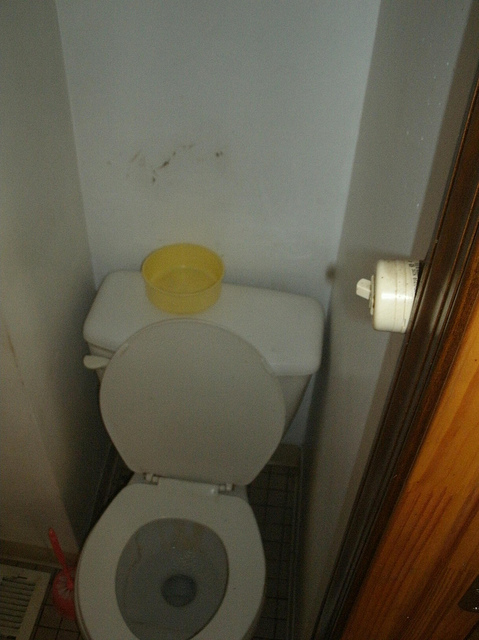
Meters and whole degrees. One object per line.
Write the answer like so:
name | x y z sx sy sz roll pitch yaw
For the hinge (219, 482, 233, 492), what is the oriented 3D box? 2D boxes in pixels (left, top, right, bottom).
hinge | -0.027 0.357 1.327 0.023 0.016 0.008 0 -1 6

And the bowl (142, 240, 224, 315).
bowl | -0.113 -0.077 1.246 0.161 0.115 0.129 2 31 -2

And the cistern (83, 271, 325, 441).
cistern | -0.076 0.187 1.469 0.604 0.411 0.328 6 44 2

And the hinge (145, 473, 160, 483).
hinge | -0.183 0.332 1.316 0.026 0.006 0.015 16 49 -4
